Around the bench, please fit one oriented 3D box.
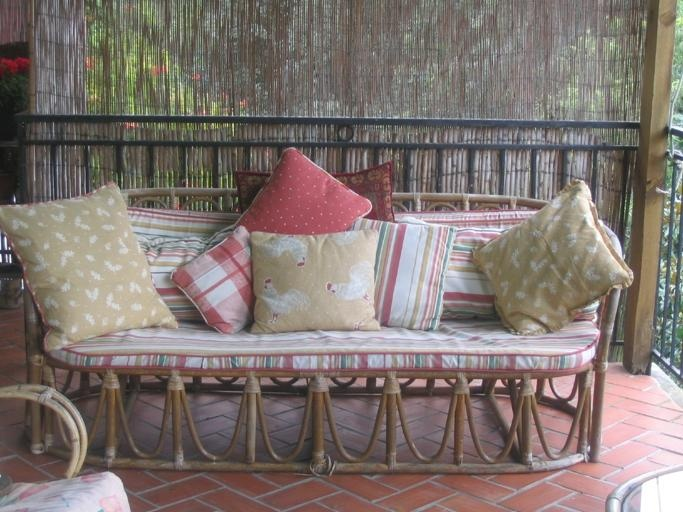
[{"bbox_3d":[-0.103,0.382,3.463,2.438,1.045,0.902,-1,6,0],"label":"bench"}]
